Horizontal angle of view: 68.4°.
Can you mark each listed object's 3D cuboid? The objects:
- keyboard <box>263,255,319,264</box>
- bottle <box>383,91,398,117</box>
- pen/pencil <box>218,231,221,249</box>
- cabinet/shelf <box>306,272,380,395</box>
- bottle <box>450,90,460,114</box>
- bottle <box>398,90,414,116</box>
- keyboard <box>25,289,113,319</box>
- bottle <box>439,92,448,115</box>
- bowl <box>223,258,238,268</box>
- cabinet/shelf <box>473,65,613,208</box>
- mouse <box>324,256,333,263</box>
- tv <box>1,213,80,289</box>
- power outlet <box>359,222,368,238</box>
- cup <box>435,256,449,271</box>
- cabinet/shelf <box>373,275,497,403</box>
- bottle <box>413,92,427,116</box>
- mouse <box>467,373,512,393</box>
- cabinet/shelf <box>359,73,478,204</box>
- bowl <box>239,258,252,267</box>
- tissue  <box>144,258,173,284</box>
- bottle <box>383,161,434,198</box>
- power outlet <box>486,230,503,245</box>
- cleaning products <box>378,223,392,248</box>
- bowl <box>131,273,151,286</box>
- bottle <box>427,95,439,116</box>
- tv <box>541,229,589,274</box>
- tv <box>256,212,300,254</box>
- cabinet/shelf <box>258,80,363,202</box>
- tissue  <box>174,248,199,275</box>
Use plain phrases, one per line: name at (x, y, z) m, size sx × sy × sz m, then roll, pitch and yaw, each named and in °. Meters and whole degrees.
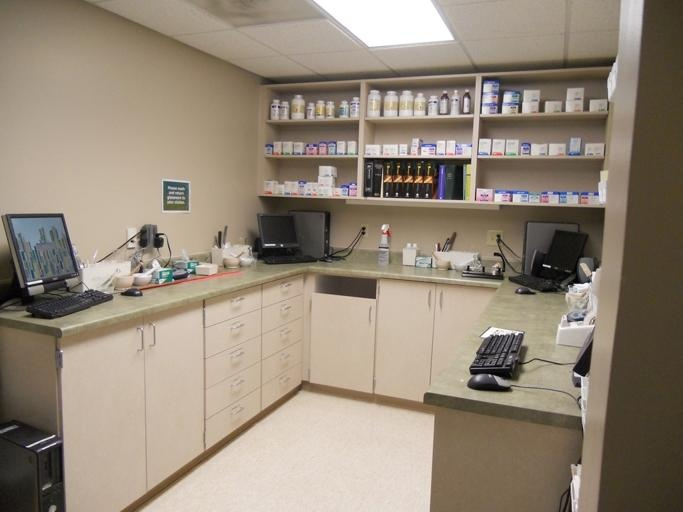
keyboard at (-0.412, 0.010, 4.045) m, size 0.440 × 0.043 × 0.291 m, roll -3°, pitch 12°, yaw -22°
bottle at (0.390, -1.176, 3.930) m, size 0.121 × 0.199 × 0.252 m, roll 3°, pitch 11°, yaw 4°
pen/pencil at (-0.902, -0.127, 3.719) m, size 0.025 × 0.173 × 0.017 m, roll 8°, pitch 44°, yaw -10°
cabinet/shelf at (0.042, 0.576, 3.979) m, size 0.521 × 0.882 × 0.497 m, roll 3°, pitch -1°, yaw 10°
bottle at (0.867, -1.161, 3.829) m, size 0.083 × 0.212 × 0.295 m, roll 4°, pitch 11°, yaw 12°
bottle at (0.500, -1.157, 3.844) m, size 0.110 × 0.202 × 0.136 m, roll 3°, pitch 11°, yaw 6°
keyboard at (-1.326, 0.213, 2.385) m, size 0.289 × 0.057 × 0.379 m, roll 5°, pitch 11°, yaw 14°
bottle at (0.786, -1.164, 3.846) m, size 0.083 × 0.198 × 0.272 m, roll 4°, pitch 11°, yaw 11°
bowl at (-0.771, 0.042, 3.540) m, size 0.079 × 0.051 × 0.081 m, roll 0°, pitch 1°, yaw 0°
cabinet/shelf at (1.442, -0.863, 3.548) m, size 1.238 × 1.072 × 0.408 m, roll 2°, pitch 5°, yaw 19°
mouse at (-0.109, 0.021, 4.130) m, size 0.050 × 0.033 × 0.086 m, roll 0°, pitch 4°, yaw -4°
tv at (-1.454, -0.021, 2.404) m, size 0.055 × 0.391 × 0.351 m, roll -13°, pitch 0°, yaw 19°
power outlet at (0.189, -0.218, 4.297) m, size 0.066 × 0.113 × 0.024 m, roll 3°, pitch 12°, yaw 7°
cup at (0.781, 0.044, 3.874) m, size 0.112 × 0.099 × 0.097 m, roll 4°, pitch 11°, yaw 11°
cabinet/shelf at (0.636, 0.542, 3.711) m, size 0.800 × 0.787 × 0.288 m, roll 0°, pitch 12°, yaw -10°
bottle at (0.605, -1.144, 3.834) m, size 0.104 × 0.184 × 0.166 m, roll 3°, pitch 11°, yaw 7°
mouse at (0.516, 0.432, 1.730) m, size 0.112 × 0.036 × 0.068 m, roll -2°, pitch 7°, yaw 0°
cabinet/shelf at (0.609, -0.893, 3.873) m, size 0.978 × 0.891 × 0.325 m, roll 2°, pitch 10°, yaw 13°
bowl at (-0.695, 0.038, 3.684) m, size 0.106 × 0.076 × 0.083 m, roll -3°, pitch 12°, yaw -24°
tissue  at (-1.100, 0.078, 3.034) m, size 0.136 × 0.159 × 0.154 m, roll 0°, pitch 4°, yaw -9°
bottle at (0.566, -0.594, 4.125) m, size 0.500 × 0.266 × 0.356 m, roll 2°, pitch -1°, yaw 13°
power outlet at (1.201, -0.151, 3.930) m, size 0.106 × 0.105 × 0.012 m, roll 4°, pitch 3°, yaw 25°
cleaning products at (0.366, -0.164, 4.122) m, size 0.095 × 0.198 × 0.279 m, roll 2°, pitch 11°, yaw 4°
bowl at (-1.136, 0.128, 2.860) m, size 0.072 × 0.043 × 0.071 m, roll 0°, pitch 0°, yaw 0°
bottle at (0.696, -1.118, 3.798) m, size 0.090 × 0.150 × 0.136 m, roll 4°, pitch 11°, yaw 10°
tv at (1.541, -0.030, 3.458) m, size 0.154 × 0.278 × 0.374 m, roll 1°, pitch 11°, yaw -4°
tv at (-0.528, -0.205, 4.123) m, size 0.332 × 0.286 × 0.173 m, roll -2°, pitch -4°, yaw -30°
cabinet/shelf at (-0.153, -0.976, 4.457) m, size 0.327 × 1.013 × 1.068 m, roll 25°, pitch 27°, yaw 23°
tissue  at (-1.040, 0.036, 3.351) m, size 0.161 × 0.168 × 0.171 m, roll 2°, pitch 6°, yaw 14°
